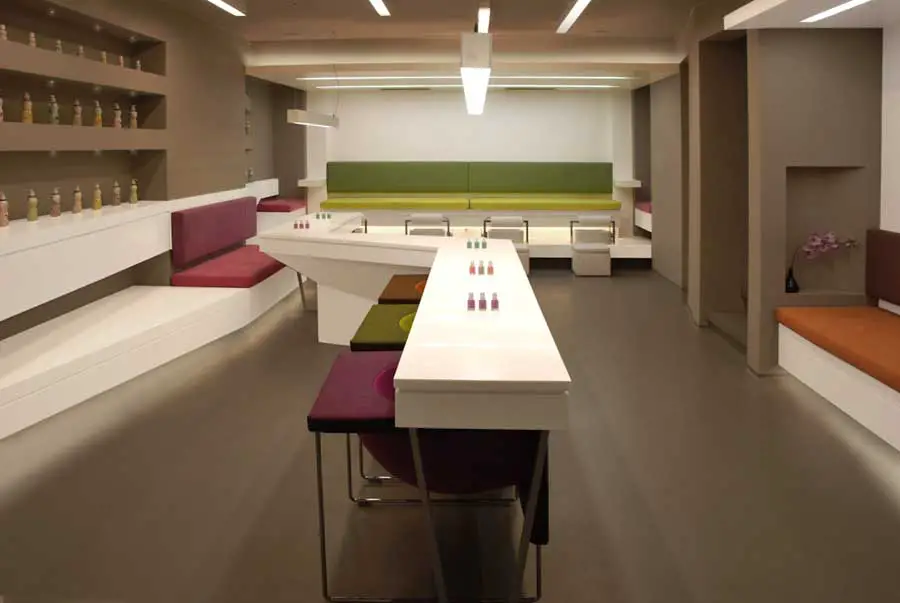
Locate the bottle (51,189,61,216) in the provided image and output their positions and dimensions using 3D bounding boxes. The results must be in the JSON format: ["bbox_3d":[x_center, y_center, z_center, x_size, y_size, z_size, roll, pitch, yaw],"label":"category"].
[{"bbox_3d":[-3.944,-1.004,5.972,0.100,0.258,0.392,-7,16,-33],"label":"bottle"}]

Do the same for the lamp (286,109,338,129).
[{"bbox_3d":[-1.989,-2.635,8.564,0.212,0.176,1.202,4,15,11],"label":"lamp"}]

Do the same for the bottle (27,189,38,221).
[{"bbox_3d":[-4.015,-0.933,5.738,0.102,0.262,0.393,-7,16,-34],"label":"bottle"}]

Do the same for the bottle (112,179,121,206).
[{"bbox_3d":[-3.767,-1.232,6.748,0.083,0.257,0.383,-5,15,-28],"label":"bottle"}]

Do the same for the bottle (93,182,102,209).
[{"bbox_3d":[-3.827,-1.149,6.471,0.096,0.259,0.387,-6,16,-30],"label":"bottle"}]

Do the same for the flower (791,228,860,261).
[{"bbox_3d":[3.464,-0.522,5.508,0.402,0.263,0.241,-4,1,4],"label":"flower"}]

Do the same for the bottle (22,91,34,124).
[{"bbox_3d":[-3.963,-1.823,5.600,0.091,0.280,0.427,-7,16,-33],"label":"bottle"}]

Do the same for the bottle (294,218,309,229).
[{"bbox_3d":[-1.782,-0.927,7.126,0.146,0.106,0.159,1,15,0],"label":"bottle"}]

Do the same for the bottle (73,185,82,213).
[{"bbox_3d":[-3.899,-1.075,6.243,0.096,0.252,0.342,-7,16,-31],"label":"bottle"}]

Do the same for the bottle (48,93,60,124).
[{"bbox_3d":[-3.909,-1.901,5.894,0.089,0.277,0.401,-7,16,-32],"label":"bottle"}]

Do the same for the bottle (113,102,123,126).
[{"bbox_3d":[-3.692,-2.073,6.638,0.088,0.257,0.453,-5,15,-27],"label":"bottle"}]

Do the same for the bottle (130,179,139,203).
[{"bbox_3d":[-3.674,-1.284,6.931,0.084,0.244,0.370,-4,15,-24],"label":"bottle"}]

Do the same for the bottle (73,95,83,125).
[{"bbox_3d":[-3.826,-1.949,6.126,0.096,0.272,0.443,-6,16,-31],"label":"bottle"}]
